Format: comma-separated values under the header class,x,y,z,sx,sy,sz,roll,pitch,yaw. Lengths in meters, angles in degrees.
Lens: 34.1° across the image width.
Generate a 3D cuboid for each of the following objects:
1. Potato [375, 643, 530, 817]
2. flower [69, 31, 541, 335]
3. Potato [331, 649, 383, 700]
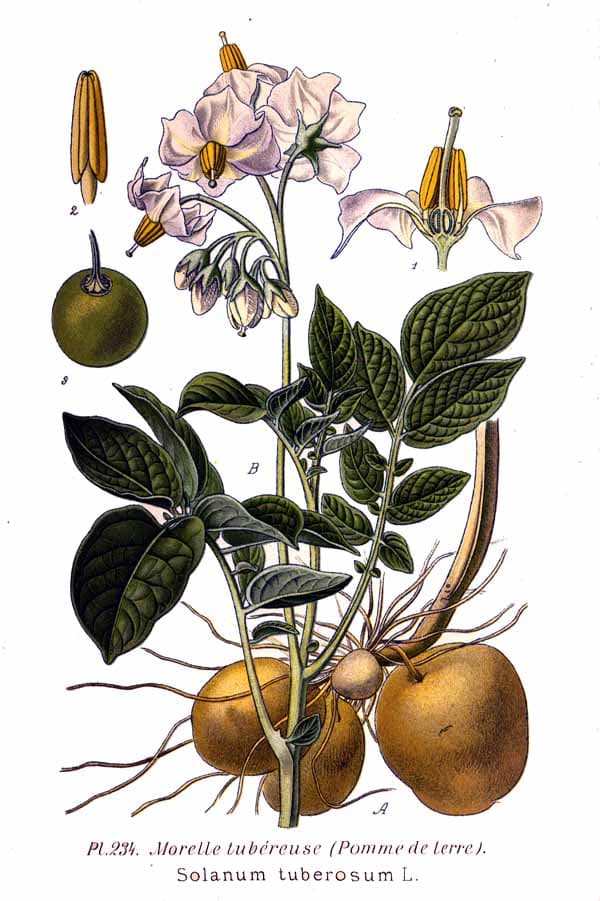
class,x,y,z,sx,sy,sz,roll,pitch,yaw
Potato,0.190,0.340,1.192,0.168,0.187,0.146,-25,38,-32
flower,-0.016,-0.301,1.156,0.538,0.324,0.309,11,34,21
Potato,0.066,0.263,1.144,0.056,0.056,0.031,2,-7,23
